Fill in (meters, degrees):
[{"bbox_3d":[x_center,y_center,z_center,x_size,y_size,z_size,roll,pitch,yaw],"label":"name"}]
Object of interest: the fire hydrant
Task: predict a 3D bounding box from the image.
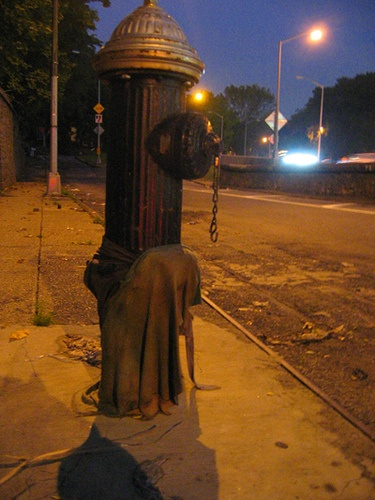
[{"bbox_3d":[-0.169,-0.177,2.278,0.574,1.885,0.446,4,8,-2],"label":"fire hydrant"}]
